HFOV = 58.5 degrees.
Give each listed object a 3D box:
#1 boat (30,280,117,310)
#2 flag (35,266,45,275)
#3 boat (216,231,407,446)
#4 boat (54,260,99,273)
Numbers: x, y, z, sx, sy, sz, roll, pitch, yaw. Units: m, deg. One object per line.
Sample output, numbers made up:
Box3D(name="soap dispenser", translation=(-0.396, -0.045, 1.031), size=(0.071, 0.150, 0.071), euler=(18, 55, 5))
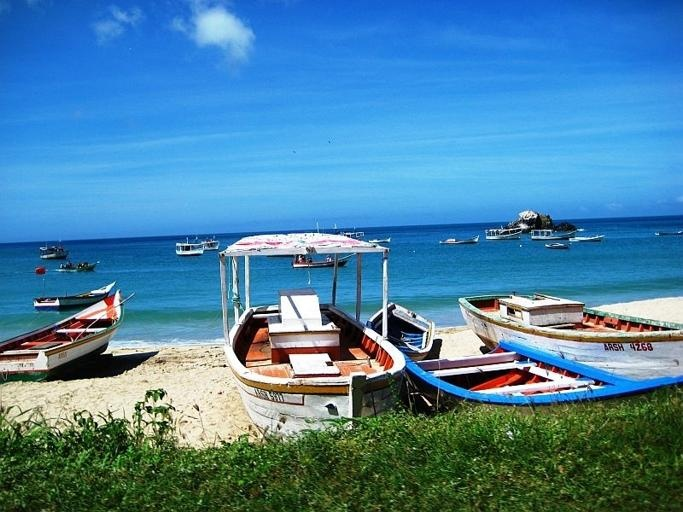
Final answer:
Box3D(name="boat", translation=(-13.986, 2.033, 31.638), size=(5.279, 1.244, 1.618), euler=(-3, 16, -40))
Box3D(name="flag", translation=(-24.405, 1.221, 49.513), size=(0.804, 0.553, 0.736), euler=(2, -6, 24))
Box3D(name="boat", translation=(-0.669, 1.566, 11.498), size=(2.482, 1.970, 5.191), euler=(-1, 4, -18))
Box3D(name="boat", translation=(-22.388, 0.965, 51.821), size=(2.664, 1.014, 2.651), euler=(-6, 5, -28))
